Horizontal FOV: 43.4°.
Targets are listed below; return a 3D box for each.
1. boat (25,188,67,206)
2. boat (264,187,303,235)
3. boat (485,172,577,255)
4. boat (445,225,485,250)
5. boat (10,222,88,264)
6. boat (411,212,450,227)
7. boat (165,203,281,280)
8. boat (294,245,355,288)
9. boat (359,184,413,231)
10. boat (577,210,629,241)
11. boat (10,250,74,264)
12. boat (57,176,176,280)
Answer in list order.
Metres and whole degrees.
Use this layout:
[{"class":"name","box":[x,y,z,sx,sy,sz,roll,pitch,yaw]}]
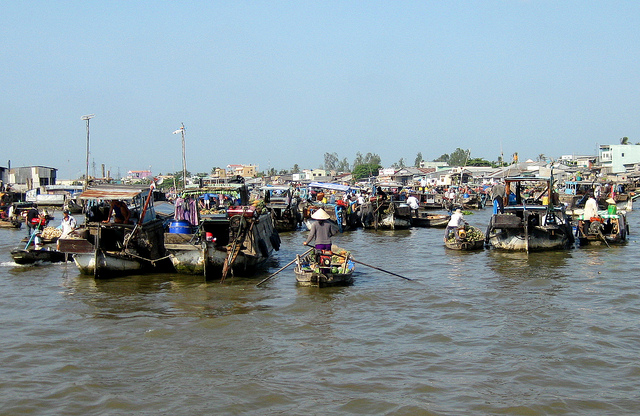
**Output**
[{"class":"boat","box":[-21.999,-0.893,65.024,3.483,1.301,2.021,0,3,5]},{"class":"boat","box":[-2.320,-0.412,45.669,1.809,2.090,5.892,3,10,-1]},{"class":"boat","box":[8.909,0.238,34.303,3.222,3.272,3.709,0,1,26]},{"class":"boat","box":[6.292,1.252,34.889,1.563,1.014,1.205,-1,1,-1]},{"class":"boat","box":[-11.346,1.458,32.952,1.544,1.164,4.747,-6,8,-8]},{"class":"boat","box":[6.041,0.616,45.123,0.800,0.398,2.371,-5,4,-38]},{"class":"boat","box":[-3.605,1.403,31.190,3.649,2.028,6.945,-2,6,6]},{"class":"boat","box":[0.180,2.104,29.016,2.126,1.183,3.723,1,9,7]},{"class":"boat","box":[3.829,-0.513,45.431,2.068,2.098,5.550,-1,10,0]},{"class":"boat","box":[12.791,0.546,36.633,2.222,1.650,3.614,2,13,29]},{"class":"boat","box":[-10.771,1.880,31.176,1.806,0.397,0.619,3,7,-27]},{"class":"boat","box":[-7.514,0.726,30.634,2.867,3.160,6.038,4,6,5]}]
